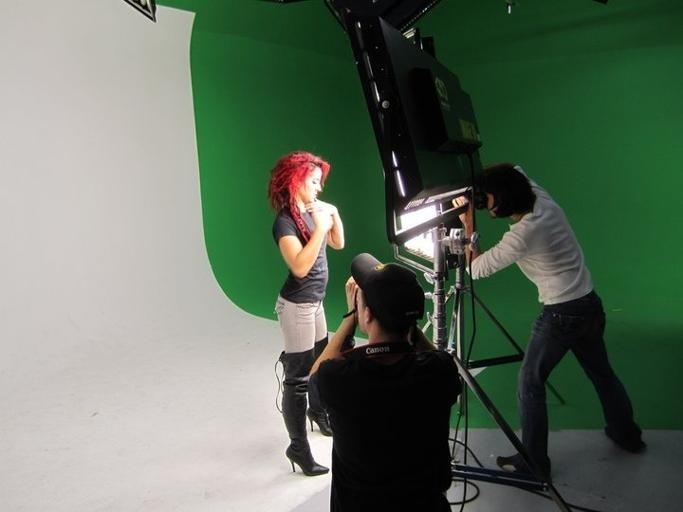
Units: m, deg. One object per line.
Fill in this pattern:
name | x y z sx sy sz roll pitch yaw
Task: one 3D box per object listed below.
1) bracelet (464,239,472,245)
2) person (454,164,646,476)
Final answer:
bracelet | 0.749 -0.084 3.145 0.030 0.036 0.118 -9 5 7
person | 1.390 0.399 3.508 0.989 2.098 0.390 -11 5 -23
